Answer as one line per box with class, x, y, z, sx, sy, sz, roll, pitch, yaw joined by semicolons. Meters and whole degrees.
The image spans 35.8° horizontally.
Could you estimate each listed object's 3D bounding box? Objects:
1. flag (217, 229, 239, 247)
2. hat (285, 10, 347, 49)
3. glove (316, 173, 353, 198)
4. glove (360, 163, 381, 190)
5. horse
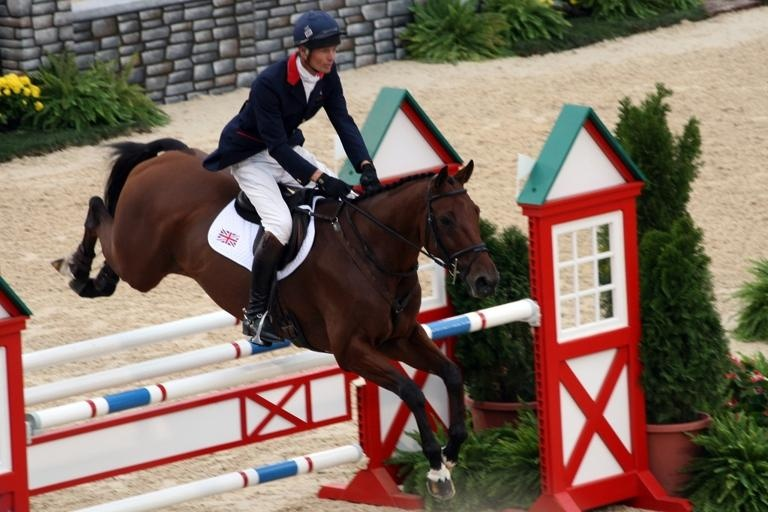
flag;-1.185;-0.133;9.048;0.177;0.110;0.021;24;-6;22
hat;-0.504;-1.643;8.659;0.336;0.184;0.251;-15;26;-20
glove;-0.370;-0.502;8.753;0.151;0.239;0.071;-46;-1;10
glove;-0.110;-0.578;8.923;0.126;0.089;0.213;-4;49;4
horse;-0.934;0.121;9.401;3.995;2.232;0.915;21;23;31
